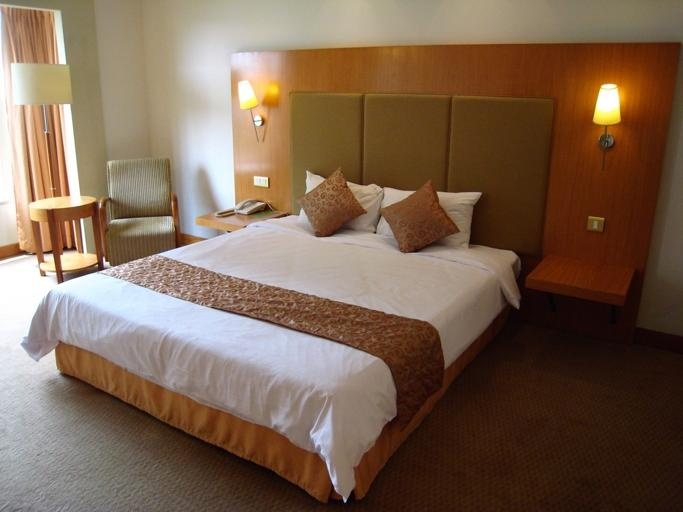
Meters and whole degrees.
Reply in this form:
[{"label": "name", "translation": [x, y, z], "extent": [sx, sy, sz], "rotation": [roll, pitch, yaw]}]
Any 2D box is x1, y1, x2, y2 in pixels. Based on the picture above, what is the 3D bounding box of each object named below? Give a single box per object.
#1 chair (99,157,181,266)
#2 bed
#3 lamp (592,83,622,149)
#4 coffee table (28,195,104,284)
[{"label": "chair", "translation": [-2.258, -0.469, 5.770], "extent": [0.793, 1.292, 0.969], "rotation": [-7, 13, -23]}, {"label": "bed", "translation": [-0.202, -0.134, 4.039], "extent": [2.845, 2.185, 3.109], "rotation": [11, 22, 34]}, {"label": "lamp", "translation": [2.099, -1.111, 4.017], "extent": [0.162, 0.553, 0.176], "rotation": [3, 51, 26]}, {"label": "coffee table", "translation": [-3.020, -0.203, 5.573], "extent": [0.621, 0.848, 0.660], "rotation": [6, 19, 11]}]
